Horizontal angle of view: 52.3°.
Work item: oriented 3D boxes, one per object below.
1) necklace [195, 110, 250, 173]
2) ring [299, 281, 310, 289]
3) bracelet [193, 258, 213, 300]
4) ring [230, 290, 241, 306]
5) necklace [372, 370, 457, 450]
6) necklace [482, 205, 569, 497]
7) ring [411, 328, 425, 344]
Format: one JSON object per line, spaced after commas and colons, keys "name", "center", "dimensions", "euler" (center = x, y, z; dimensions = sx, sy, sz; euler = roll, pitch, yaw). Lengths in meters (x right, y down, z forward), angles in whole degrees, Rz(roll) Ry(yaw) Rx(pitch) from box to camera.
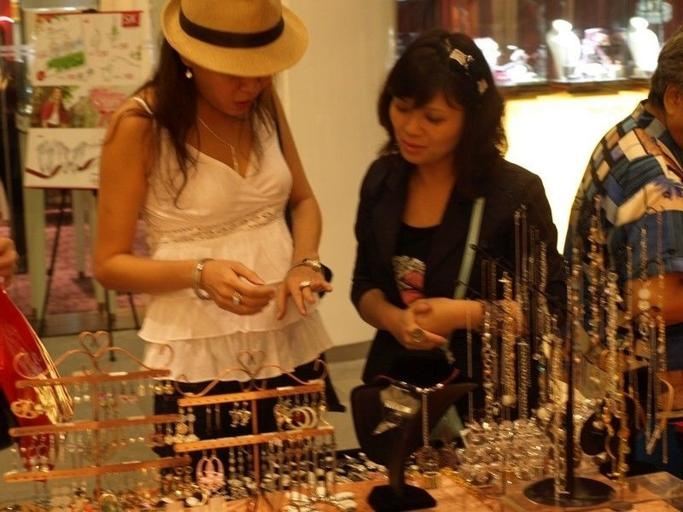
{"name": "necklace", "center": [-0.328, -0.286, 1.866], "dimensions": [0.049, 0.276, 0.013], "euler": [-34, 13, -28]}
{"name": "ring", "center": [-0.095, 0.074, 1.770], "dimensions": [0.016, 0.007, 0.023], "euler": [11, 31, 33]}
{"name": "bracelet", "center": [-0.354, 0.060, 1.752], "dimensions": [0.045, 0.104, 0.100], "euler": [-2, 0, -13]}
{"name": "ring", "center": [-0.257, 0.103, 1.692], "dimensions": [0.021, 0.029, 0.014], "euler": [-2, 0, -23]}
{"name": "necklace", "center": [0.224, 0.395, 1.723], "dimensions": [0.187, 0.194, 0.090], "euler": [7, -1, -15]}
{"name": "necklace", "center": [0.456, 0.201, 1.779], "dimensions": [0.202, 0.618, 0.348], "euler": [-2, 0, 13]}
{"name": "ring", "center": [0.210, 0.221, 1.921], "dimensions": [0.028, 0.038, 0.011], "euler": [2, 11, 24]}
